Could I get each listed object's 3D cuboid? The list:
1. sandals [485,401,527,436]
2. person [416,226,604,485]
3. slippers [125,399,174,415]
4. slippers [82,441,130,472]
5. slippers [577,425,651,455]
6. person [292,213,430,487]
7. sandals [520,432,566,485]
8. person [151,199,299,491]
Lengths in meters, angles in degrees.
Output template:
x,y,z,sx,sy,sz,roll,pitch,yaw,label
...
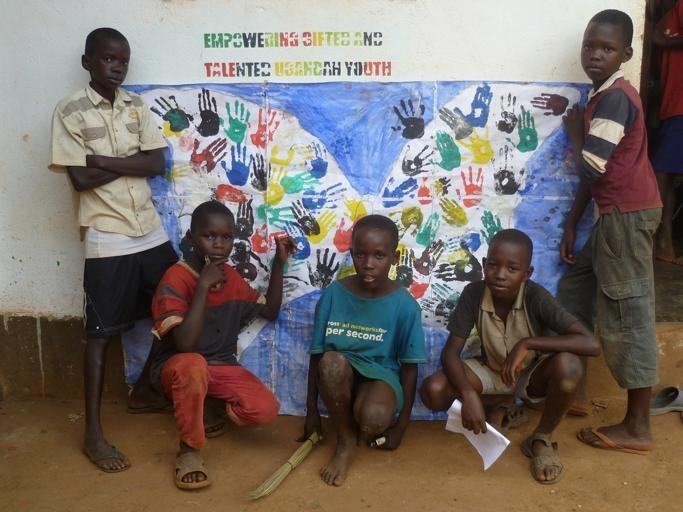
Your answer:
x,y,z,sx,sy,sz,roll,pitch,yaw,label
0.998,0.997,4.108,0.203,0.140,0.064,-23,47,-11,sandals
1.013,0.529,3.909,0.777,1.316,0.784,-13,18,-42,person
-1.245,0.974,4.390,0.314,0.136,0.117,1,4,-3,slippers
-1.366,1.159,3.855,0.241,0.098,0.126,10,23,26,slippers
1.594,1.097,3.959,0.281,0.049,0.152,8,12,28,slippers
0.113,0.483,4.000,0.757,1.387,0.670,-8,15,-30,person
1.141,1.138,3.777,0.130,0.113,0.284,-8,23,6,sandals
-0.707,0.440,4.052,0.990,1.488,0.763,-11,17,-37,person
